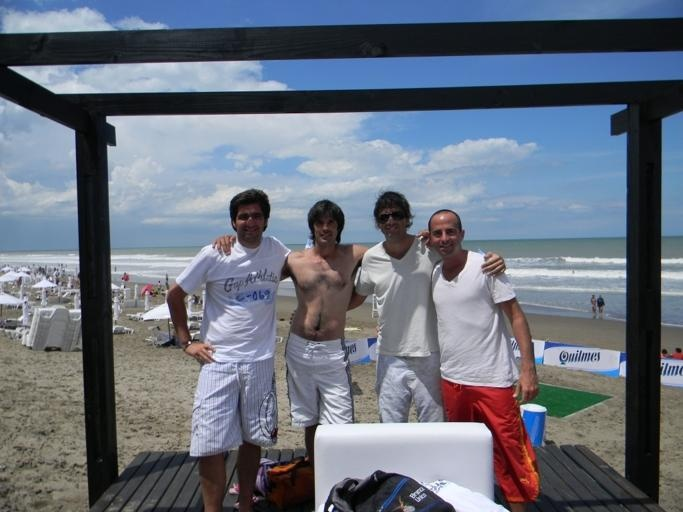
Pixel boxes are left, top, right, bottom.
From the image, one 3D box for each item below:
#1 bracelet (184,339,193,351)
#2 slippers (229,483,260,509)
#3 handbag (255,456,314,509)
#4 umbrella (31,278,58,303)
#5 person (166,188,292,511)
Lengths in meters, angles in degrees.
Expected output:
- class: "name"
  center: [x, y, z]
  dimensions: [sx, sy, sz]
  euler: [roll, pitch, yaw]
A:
- class: "bracelet"
  center: [-1.369, 0.789, 4.833]
  dimensions: [0.065, 0.086, 0.032]
  euler: [4, -25, 4]
- class: "slippers"
  center: [-0.924, 2.282, 5.200]
  dimensions: [0.259, 0.064, 0.188]
  euler: [4, 3, -7]
- class: "handbag"
  center: [-0.514, 2.141, 5.281]
  dimensions: [0.375, 0.185, 0.497]
  euler: [3, -3, 1]
- class: "umbrella"
  center: [-13.744, 1.623, 25.128]
  dimensions: [0.723, 0.827, 0.794]
  euler: [3, 4, 11]
- class: "person"
  center: [-1.001, 0.864, 4.897]
  dimensions: [0.966, 2.929, 0.392]
  euler: [0, 1, -6]
